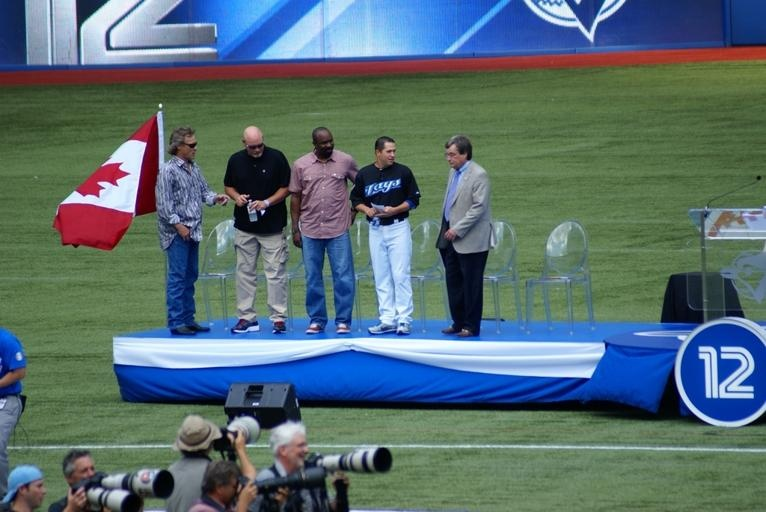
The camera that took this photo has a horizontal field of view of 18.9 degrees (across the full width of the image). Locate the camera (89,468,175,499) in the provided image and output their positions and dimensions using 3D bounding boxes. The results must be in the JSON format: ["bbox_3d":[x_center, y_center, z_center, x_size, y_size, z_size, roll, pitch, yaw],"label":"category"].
[{"bbox_3d":[-3.088,2.805,28.272,1.180,0.323,0.335,-3,6,31],"label":"camera"}]

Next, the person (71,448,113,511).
[{"bbox_3d":[-3.637,2.775,28.520,0.875,0.603,0.502,3,6,-9],"label":"person"}]

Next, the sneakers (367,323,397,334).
[{"bbox_3d":[0.011,1.002,31.462,0.384,0.150,0.151,2,-1,-3],"label":"sneakers"}]

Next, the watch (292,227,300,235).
[{"bbox_3d":[-1.175,-0.321,31.638,0.072,0.055,0.074,3,3,26],"label":"watch"}]

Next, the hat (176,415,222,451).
[{"bbox_3d":[-2.261,2.154,28.437,0.449,0.480,0.186,-2,-30,16],"label":"hat"}]

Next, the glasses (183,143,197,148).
[{"bbox_3d":[-2.614,-1.512,31.582,0.098,0.031,0.096,16,12,31],"label":"glasses"}]

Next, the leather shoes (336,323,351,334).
[{"bbox_3d":[-0.526,1.004,31.450,0.175,0.152,0.188,-1,-1,-2],"label":"leather shoes"}]

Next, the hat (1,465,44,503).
[{"bbox_3d":[-4.471,2.842,28.576,0.510,0.474,0.220,-1,-1,18],"label":"hat"}]

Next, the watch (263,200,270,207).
[{"bbox_3d":[-1.571,-0.710,31.494,0.071,0.094,0.104,7,32,-1],"label":"watch"}]

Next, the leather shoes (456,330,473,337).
[{"bbox_3d":[1.143,1.051,31.220,0.158,0.062,0.094,6,-2,0],"label":"leather shoes"}]

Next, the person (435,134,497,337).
[{"bbox_3d":[1.141,-0.266,31.356,0.778,2.750,0.449,-1,-1,11],"label":"person"}]

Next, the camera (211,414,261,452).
[{"bbox_3d":[-1.772,2.206,28.550,0.577,0.327,0.343,-17,35,-43],"label":"camera"}]

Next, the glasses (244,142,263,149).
[{"bbox_3d":[-1.738,-1.493,31.502,0.226,0.077,0.163,-1,-1,-3],"label":"glasses"}]

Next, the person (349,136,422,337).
[{"bbox_3d":[0.080,-0.260,31.441,0.864,2.690,0.356,-1,-1,-3],"label":"person"}]

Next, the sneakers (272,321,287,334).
[{"bbox_3d":[-1.401,0.990,31.631,0.181,0.176,0.111,-1,-1,-9],"label":"sneakers"}]

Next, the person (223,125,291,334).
[{"bbox_3d":[-1.672,-0.207,31.656,0.904,2.578,0.380,-1,-1,1],"label":"person"}]

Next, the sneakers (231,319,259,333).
[{"bbox_3d":[-1.874,0.993,31.846,0.409,0.196,0.157,1,-1,-22],"label":"sneakers"}]
